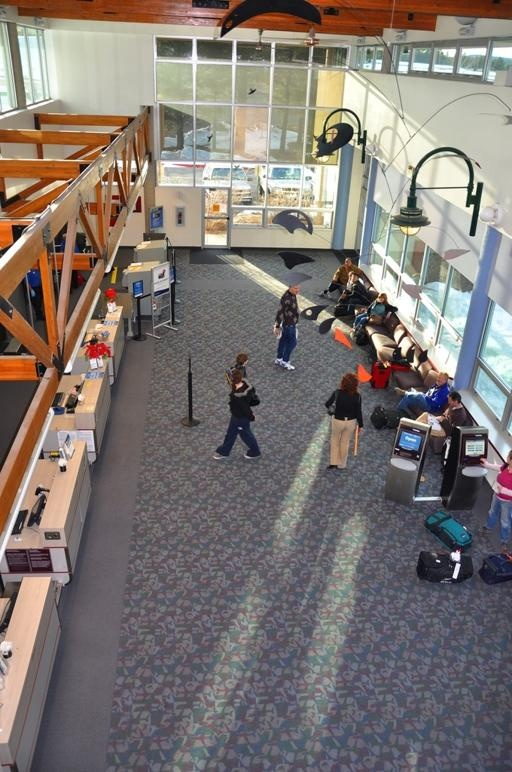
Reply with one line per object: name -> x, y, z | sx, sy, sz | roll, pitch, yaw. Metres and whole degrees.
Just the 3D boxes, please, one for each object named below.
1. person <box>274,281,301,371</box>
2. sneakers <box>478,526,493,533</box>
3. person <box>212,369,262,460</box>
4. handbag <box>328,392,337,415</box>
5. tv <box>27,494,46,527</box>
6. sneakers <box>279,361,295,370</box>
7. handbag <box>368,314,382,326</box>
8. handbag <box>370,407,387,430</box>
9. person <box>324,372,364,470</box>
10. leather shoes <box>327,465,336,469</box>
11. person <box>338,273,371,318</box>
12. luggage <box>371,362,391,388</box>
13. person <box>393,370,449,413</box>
person -> 0.582, -1.172, 9.702 | 0.403, 1.619, 0.685 | 1, 25, 3
sneakers -> 2.791, 1.744, 6.156 | 0.164, 0.077, 0.066 | -1, 14, -26
person -> -0.245, 0.362, 6.986 | 0.600, 1.497, 0.681 | 4, 25, 9
handbag -> 1.044, 0.225, 6.884 | 0.190, 0.262, 0.242 | 4, 24, 7
tv -> -2.094, 1.204, 4.853 | 0.107, 0.097, 0.332 | 35, 44, -29
sneakers -> 0.633, -0.388, 9.831 | 0.125, 0.153, 0.329 | -6, 27, -43
handbag -> 2.711, -1.501, 11.450 | 0.159, 0.251, 0.143 | 31, 3, 0
handbag -> 1.998, 0.534, 8.233 | 0.152, 0.285, 0.203 | 2, 41, -19
person -> 1.214, 0.489, 6.961 | 0.472, 1.419, 0.407 | 11, 21, 15
leather shoes -> 1.081, 1.148, 7.181 | 0.116, 0.047, 0.041 | 2, 33, -2
person -> 2.443, -2.241, 12.651 | 0.796, 1.132, 0.676 | 10, 55, 4
luggage -> 2.333, -0.196, 9.431 | 0.321, 0.554, 0.302 | 2, 41, -5
person -> 2.624, 0.061, 8.144 | 0.830, 0.640, 0.518 | 6, 32, 16
